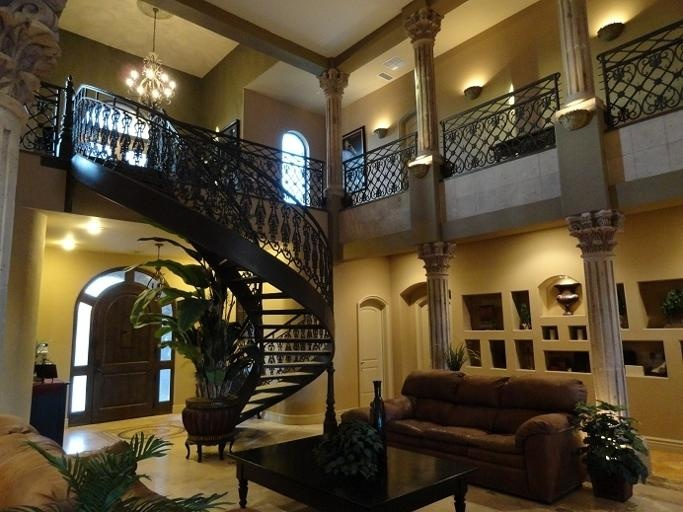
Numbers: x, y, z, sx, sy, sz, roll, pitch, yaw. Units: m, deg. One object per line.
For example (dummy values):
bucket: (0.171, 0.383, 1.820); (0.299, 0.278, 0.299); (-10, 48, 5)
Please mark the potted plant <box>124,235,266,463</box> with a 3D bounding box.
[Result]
potted plant: (-2.185, 1.454, 7.265); (1.835, 2.623, 1.665); (4, -12, -29)
